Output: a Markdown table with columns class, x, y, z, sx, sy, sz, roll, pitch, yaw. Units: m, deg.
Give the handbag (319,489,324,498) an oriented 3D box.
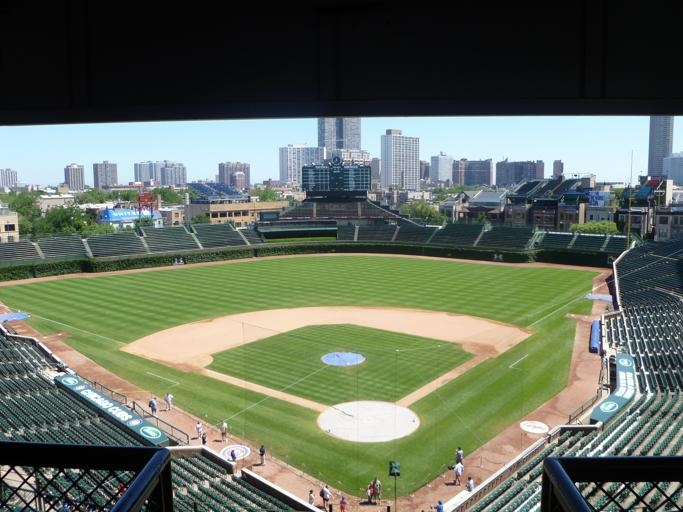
| class | x | y | z | sx | sy | sz | roll | pitch | yaw |
| --- | --- | --- | --- | --- | --- | --- | --- | --- | --- |
| handbag | -0.367 | 4.480 | 11.137 | 0.052 | 0.156 | 0.153 | -5 | 12 | -10 |
